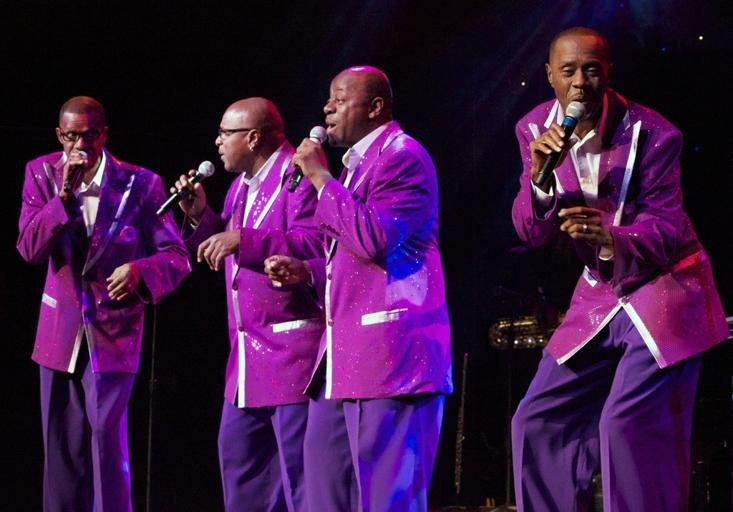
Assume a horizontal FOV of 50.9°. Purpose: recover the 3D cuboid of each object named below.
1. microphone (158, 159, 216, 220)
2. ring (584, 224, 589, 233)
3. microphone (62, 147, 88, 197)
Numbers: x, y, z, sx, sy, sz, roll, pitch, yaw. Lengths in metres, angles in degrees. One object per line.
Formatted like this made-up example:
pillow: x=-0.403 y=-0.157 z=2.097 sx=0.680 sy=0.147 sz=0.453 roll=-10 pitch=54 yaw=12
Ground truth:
microphone: x=-1.014 y=-0.384 z=4.313 sx=0.470 sy=0.127 sz=0.126 roll=-46 pitch=-21 yaw=-10
ring: x=0.812 y=-0.101 z=2.857 sx=0.014 sy=0.025 sz=0.027 roll=3 pitch=-62 yaw=12
microphone: x=-1.419 y=-0.386 z=3.755 sx=0.090 sy=0.104 sz=0.309 roll=20 pitch=-28 yaw=-14
